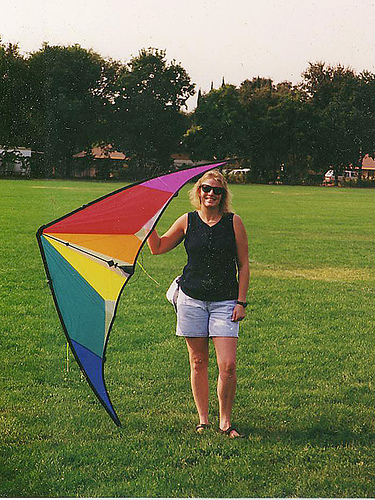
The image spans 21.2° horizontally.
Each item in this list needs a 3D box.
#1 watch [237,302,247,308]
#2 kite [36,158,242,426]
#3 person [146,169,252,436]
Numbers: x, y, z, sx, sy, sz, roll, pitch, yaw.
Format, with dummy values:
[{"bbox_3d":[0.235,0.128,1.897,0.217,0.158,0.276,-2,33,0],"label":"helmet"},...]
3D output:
[{"bbox_3d":[0.459,0.449,8.344,0.051,0.038,0.055,-2,-12,35],"label":"watch"},{"bbox_3d":[-0.608,0.072,8.681,1.335,2.942,0.135,27,31,-4],"label":"kite"},{"bbox_3d":[0.151,0.445,8.562,0.802,2.161,0.565,7,12,29],"label":"person"}]
